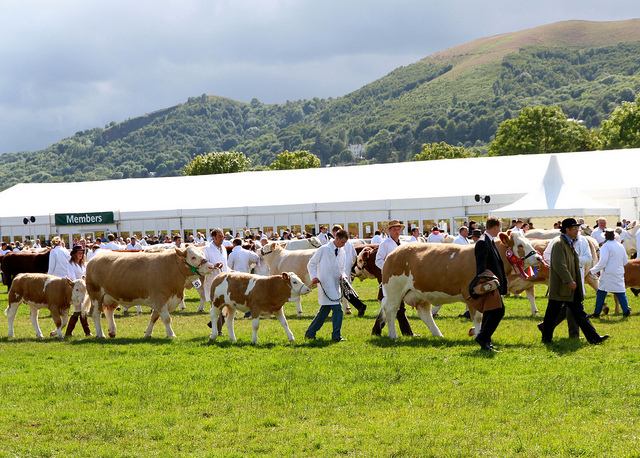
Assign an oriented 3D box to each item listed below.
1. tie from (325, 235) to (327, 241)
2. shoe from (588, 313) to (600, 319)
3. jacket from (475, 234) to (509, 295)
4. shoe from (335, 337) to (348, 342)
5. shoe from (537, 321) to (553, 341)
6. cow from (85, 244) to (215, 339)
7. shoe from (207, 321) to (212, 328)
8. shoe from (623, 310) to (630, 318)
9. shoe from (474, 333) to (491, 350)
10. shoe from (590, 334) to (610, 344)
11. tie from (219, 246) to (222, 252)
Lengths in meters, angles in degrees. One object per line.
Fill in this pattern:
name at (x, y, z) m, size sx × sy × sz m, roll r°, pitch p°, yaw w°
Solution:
tie at (0.253, 0.423, 55.380) m, size 0.054 × 0.241 × 0.237 m, roll -8°, pitch 1°, yaw -6°
shoe at (12.383, 3.943, 49.636) m, size 0.439 × 0.215 × 0.162 m, roll -1°, pitch 3°, yaw 7°
jacket at (7.156, 1.425, 46.497) m, size 1.111 × 2.477 × 1.777 m, roll 7°, pitch 9°, yaw 37°
shoe at (0.901, 4.773, 47.607) m, size 0.510 × 0.175 × 0.437 m, roll -4°, pitch -1°, yaw -42°
shoe at (9.637, 4.253, 47.078) m, size 0.458 × 0.613 × 0.639 m, roll -1°, pitch -6°, yaw -8°
cow at (-7.279, 2.750, 49.850) m, size 4.579 × 4.944 × 4.441 m, roll 5°, pitch 6°, yaw 33°
shoe at (-4.986, 4.317, 49.672) m, size 0.311 × 0.358 × 0.369 m, roll -1°, pitch -10°, yaw -1°
shoe at (13.801, 3.819, 49.505) m, size 0.380 × 0.233 × 0.143 m, roll -20°, pitch 19°, yaw -26°
shoe at (6.794, 4.758, 46.042) m, size 0.374 × 0.949 × 0.304 m, roll -29°, pitch 10°, yaw 18°
shoe at (11.780, 4.663, 46.318) m, size 0.788 × 0.365 × 0.276 m, roll -23°, pitch 4°, yaw -14°
tie at (-4.707, 0.925, 51.333) m, size 0.059 × 0.299 × 0.141 m, roll -2°, pitch -1°, yaw -13°
